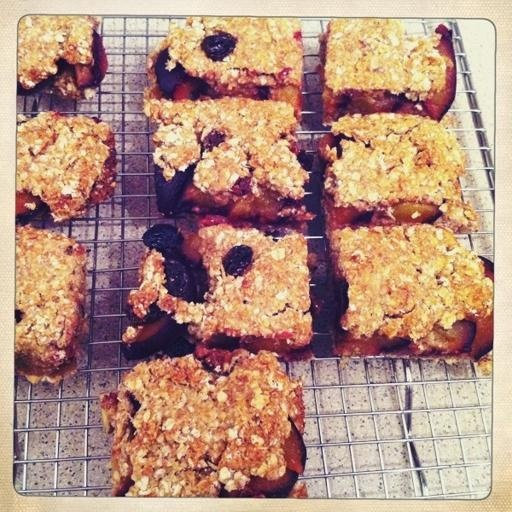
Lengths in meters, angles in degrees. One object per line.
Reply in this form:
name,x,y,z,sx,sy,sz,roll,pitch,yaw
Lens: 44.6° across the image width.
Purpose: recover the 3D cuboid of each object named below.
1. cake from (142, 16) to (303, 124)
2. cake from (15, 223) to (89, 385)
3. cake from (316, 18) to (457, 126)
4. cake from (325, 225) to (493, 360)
cake,-0.066,-0.607,1.896,0.359,0.112,0.274,2,86,-2
cake,-0.607,0.136,1.858,0.267,0.145,0.422,2,86,-13
cake,0.417,-0.578,1.974,0.407,0.214,0.274,3,70,-1
cake,0.475,0.109,1.909,0.480,0.202,0.379,-1,70,-3
